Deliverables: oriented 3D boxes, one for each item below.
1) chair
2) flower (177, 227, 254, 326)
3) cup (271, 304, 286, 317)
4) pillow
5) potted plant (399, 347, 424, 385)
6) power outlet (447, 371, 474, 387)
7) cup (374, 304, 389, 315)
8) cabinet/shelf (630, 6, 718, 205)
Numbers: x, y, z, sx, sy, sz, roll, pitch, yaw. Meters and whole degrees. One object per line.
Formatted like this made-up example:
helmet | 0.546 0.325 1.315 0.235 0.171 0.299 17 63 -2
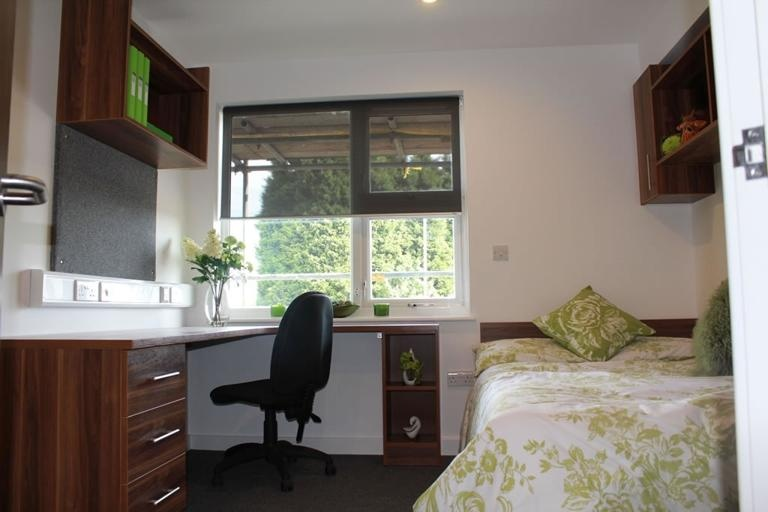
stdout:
chair | -0.723 0.854 3.769 0.740 1.154 0.770 -5 -9 36
flower | -1.227 0.145 4.299 0.442 0.724 0.478 -2 -2 28
cup | -0.832 0.434 4.508 0.111 0.084 0.111 -1 -2 0
pillow | 1.384 0.472 3.846 0.506 0.159 0.504 -37 49 -21
potted plant | 0.205 0.835 4.109 0.159 0.217 0.172 9 -5 -7
power outlet | 0.560 0.914 4.213 0.182 0.109 0.038 1 5 6
cup | -0.016 0.421 4.460 0.095 0.072 0.092 0 -5 0
cabinet/shelf | 1.997 -1.001 3.881 0.259 0.845 1.375 -1 0 8
